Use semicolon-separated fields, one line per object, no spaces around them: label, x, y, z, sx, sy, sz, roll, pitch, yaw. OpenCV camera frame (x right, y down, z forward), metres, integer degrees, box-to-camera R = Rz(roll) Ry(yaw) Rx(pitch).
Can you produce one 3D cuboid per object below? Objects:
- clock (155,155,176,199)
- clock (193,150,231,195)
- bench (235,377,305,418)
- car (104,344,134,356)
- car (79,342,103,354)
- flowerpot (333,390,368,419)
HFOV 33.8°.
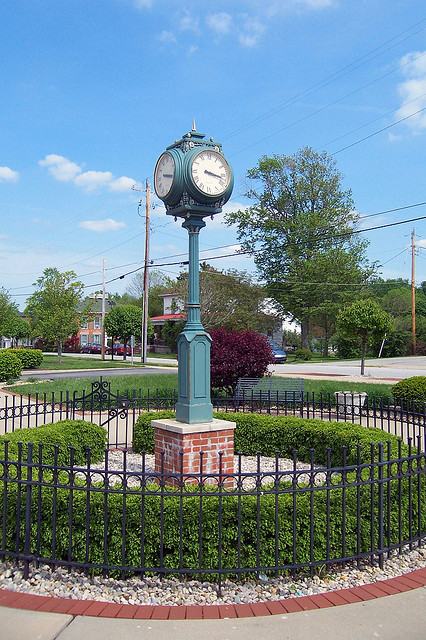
clock;-0.513;-1.528;7.438;0.080;0.477;0.701;0;7;-16
clock;-0.002;-1.528;7.274;0.124;0.449;0.492;9;9;42
bench;1.123;1.556;14.141;1.355;0.681;0.484;1;13;9
car;-6.810;2.188;50.982;1.324;0.887;3.063;1;3;-39
car;-9.912;2.290;56.865;1.205;0.837;2.600;2;2;-41
flowerpot;2.613;1.517;13.271;0.789;0.586;0.740;0;-13;4
